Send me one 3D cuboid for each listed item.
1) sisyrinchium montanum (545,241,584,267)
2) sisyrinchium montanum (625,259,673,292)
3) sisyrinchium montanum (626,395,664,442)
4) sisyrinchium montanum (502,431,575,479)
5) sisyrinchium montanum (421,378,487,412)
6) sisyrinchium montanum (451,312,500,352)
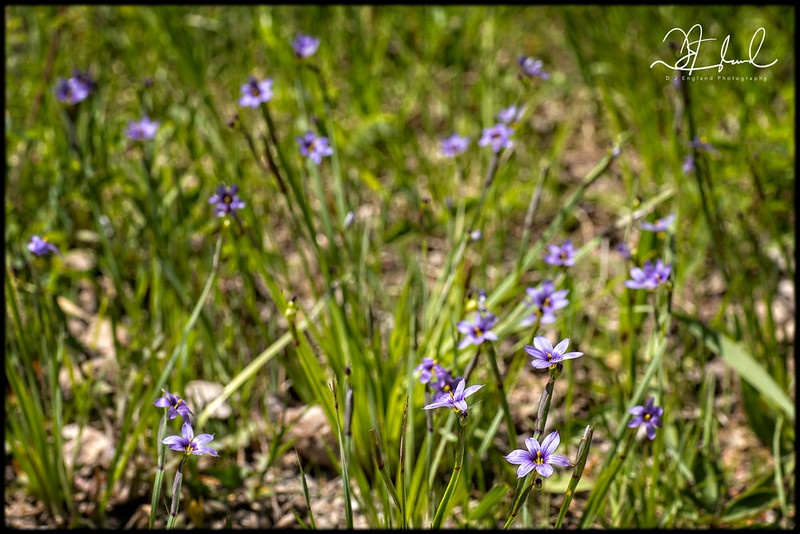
[{"bbox_3d":[0.736,-0.036,3.855,0.135,0.078,0.136,-27,65,6],"label":"sisyrinchium montanum"},{"bbox_3d":[1.087,0.065,3.724,0.155,0.067,0.149,-28,48,8],"label":"sisyrinchium montanum"},{"bbox_3d":[1.069,0.655,3.758,0.168,0.203,0.059,22,-4,0],"label":"sisyrinchium montanum"},{"bbox_3d":[0.558,0.793,3.466,0.243,0.119,0.241,11,19,-14],"label":"sisyrinchium montanum"},{"bbox_3d":[0.233,0.536,3.542,0.160,0.075,0.172,-25,14,17],"label":"sisyrinchium montanum"},{"bbox_3d":[0.330,0.266,3.705,0.165,0.173,0.248,-5,27,5],"label":"sisyrinchium montanum"}]
